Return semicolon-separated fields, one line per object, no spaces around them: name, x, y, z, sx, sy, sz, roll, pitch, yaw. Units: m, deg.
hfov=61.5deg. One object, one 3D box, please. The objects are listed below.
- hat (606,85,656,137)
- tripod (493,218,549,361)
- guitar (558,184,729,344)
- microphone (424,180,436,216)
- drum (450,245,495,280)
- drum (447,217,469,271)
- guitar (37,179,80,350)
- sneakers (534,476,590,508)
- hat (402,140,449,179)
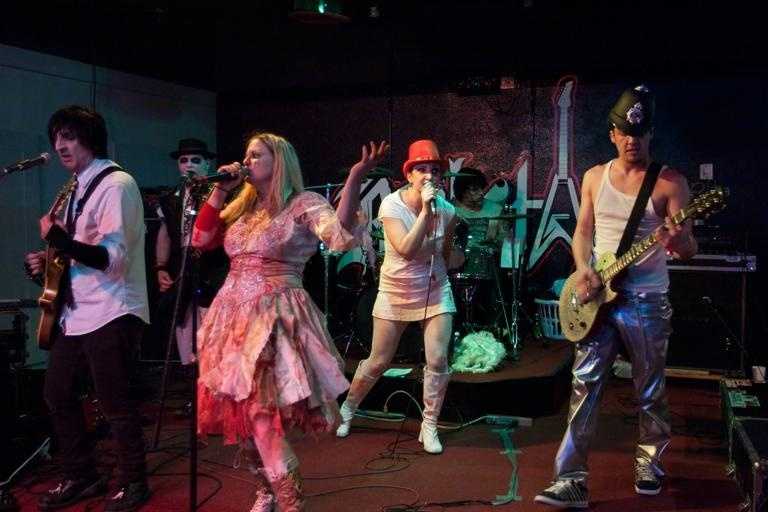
hat;1.786;-1.121;4.639;0.268;0.266;0.364;19;-10;2
tripod;1.667;0.328;8.120;0.802;1.761;0.947;-2;0;31
guitar;2.226;0.117;5.354;0.236;0.632;1.726;17;-43;-29
microphone;0.372;-0.472;5.167;0.082;0.296;0.078;-10;7;-3
drum;1.089;0.065;7.640;0.426;0.411;0.431;-2;2;-30
drum;0.854;-0.150;7.361;0.226;0.585;0.446;4;4;1
guitar;-2.485;0.055;4.924;0.289;1.276;0.396;-1;11;-4
sneakers;1.327;1.776;4.831;0.473;0.212;0.171;4;-11;-9
hat;0.341;-0.896;5.712;0.356;0.229;0.426;-8;-1;-20
